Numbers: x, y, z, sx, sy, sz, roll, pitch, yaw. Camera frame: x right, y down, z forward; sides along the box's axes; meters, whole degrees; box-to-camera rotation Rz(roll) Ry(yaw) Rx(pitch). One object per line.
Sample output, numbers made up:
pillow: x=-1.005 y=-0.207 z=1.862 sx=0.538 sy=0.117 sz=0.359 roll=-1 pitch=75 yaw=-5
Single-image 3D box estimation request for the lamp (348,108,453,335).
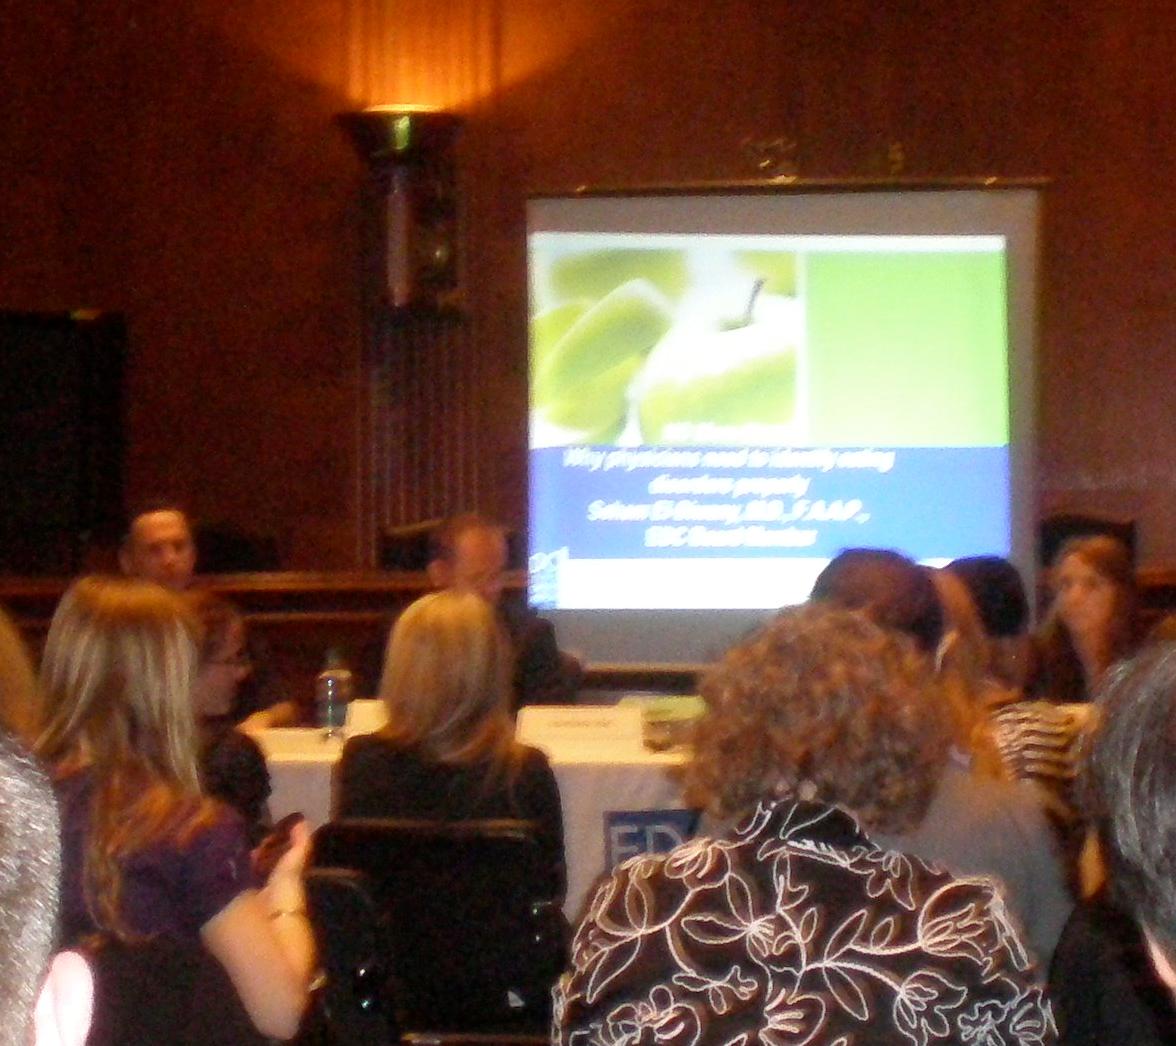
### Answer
lamp: x=-0.879 y=-1.472 z=6.737 sx=0.591 sy=0.980 sz=0.431 roll=0 pitch=4 yaw=14
